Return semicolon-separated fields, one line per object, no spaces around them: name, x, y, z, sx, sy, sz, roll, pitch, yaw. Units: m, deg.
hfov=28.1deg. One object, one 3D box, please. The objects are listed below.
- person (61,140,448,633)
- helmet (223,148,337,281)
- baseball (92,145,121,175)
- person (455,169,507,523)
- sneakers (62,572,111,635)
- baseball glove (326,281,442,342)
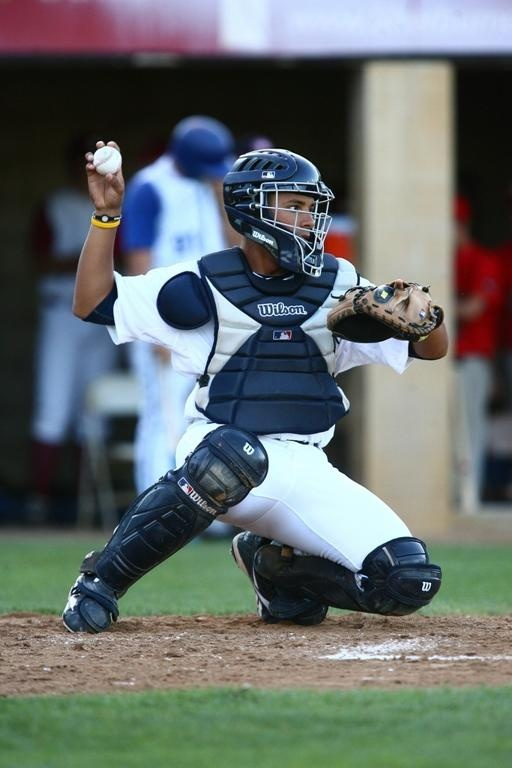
person;0.010;-0.004;2.287;0.824;1.100;0.448;2;2;8
helmet;0.053;-0.415;2.416;0.262;0.276;0.258;9;8;43
baseball;-0.320;-0.479;2.209;0.059;0.064;0.066;2;1;-9
person;1.325;-0.221;6.107;0.311;1.847;1.179;2;1;11
sneakers;-0.360;0.477;2.241;0.090;0.062;0.137;27;-3;-27
baseball glove;0.241;-0.140;2.220;0.188;0.093;0.226;-16;-15;7
